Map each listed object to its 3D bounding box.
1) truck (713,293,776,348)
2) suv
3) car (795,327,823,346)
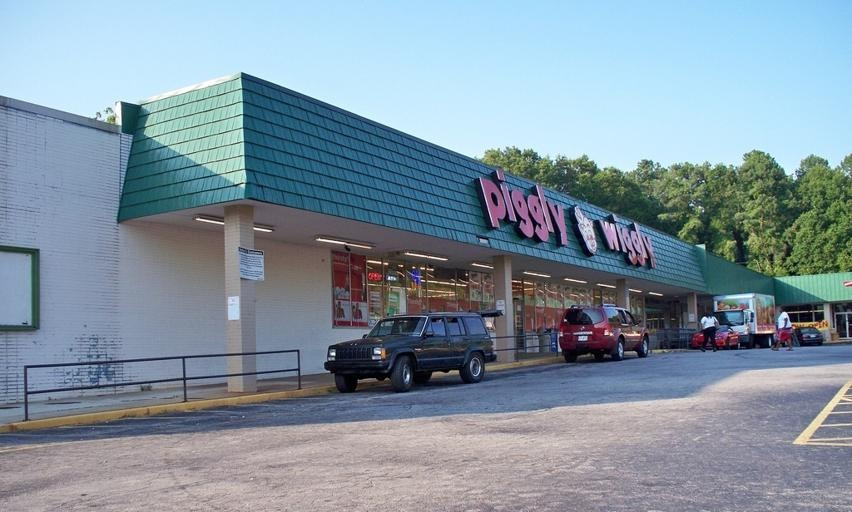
[{"bbox_3d":[23.438,4.777,48.621,2.930,3.373,6.658,-4,-8,37],"label":"truck"},{"bbox_3d":[-0.436,3.345,22.821,2.730,2.091,5.335,-11,-15,40],"label":"suv"},{"bbox_3d":[33.958,7.210,57.551,1.862,1.573,3.776,-9,-12,25],"label":"car"}]
